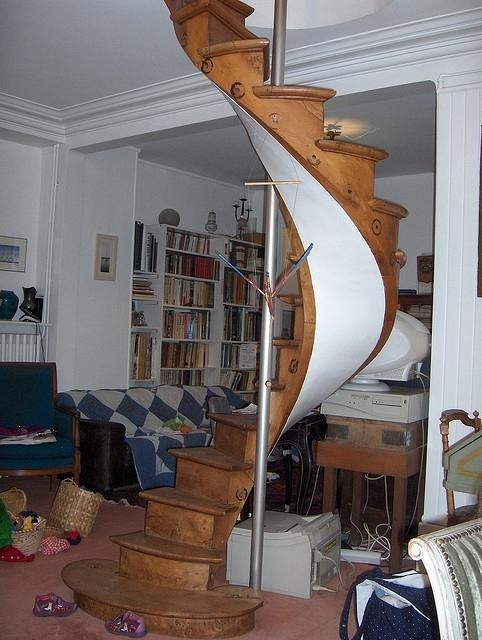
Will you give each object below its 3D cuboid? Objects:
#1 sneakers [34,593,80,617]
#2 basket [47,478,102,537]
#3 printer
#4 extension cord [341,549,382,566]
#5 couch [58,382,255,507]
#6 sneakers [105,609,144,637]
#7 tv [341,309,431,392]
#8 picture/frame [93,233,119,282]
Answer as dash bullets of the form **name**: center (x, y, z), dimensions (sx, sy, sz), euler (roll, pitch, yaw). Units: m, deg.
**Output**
- **sneakers**: center (-0.770, 1.167, 2.185), dimensions (0.166, 0.058, 0.169), euler (4, -5, -24)
- **basket**: center (-1.016, 1.128, 3.180), dimensions (0.308, 0.295, 0.134), euler (0, -6, 28)
- **printer**: center (0.223, 1.139, 2.652), dimensions (0.525, 0.273, 0.543), euler (-1, -10, 15)
- **extension cord**: center (0.670, 1.311, 2.948), dimensions (0.221, 0.063, 0.143), euler (1, -5, 15)
- **couch**: center (-0.691, 0.913, 4.453), dimensions (0.914, 0.682, 1.460), euler (-1, -5, 33)
- **sneakers**: center (-0.430, 1.108, 1.969), dimensions (0.120, 0.046, 0.079), euler (2, -5, 26)
- **tv**: center (0.723, 0.125, 3.008), dimensions (0.560, 0.471, 0.402), euler (6, 18, 5)
- **picture/frame**: center (-1.314, -0.607, 5.143), dimensions (0.024, 0.433, 0.252), euler (7, 5, 36)
